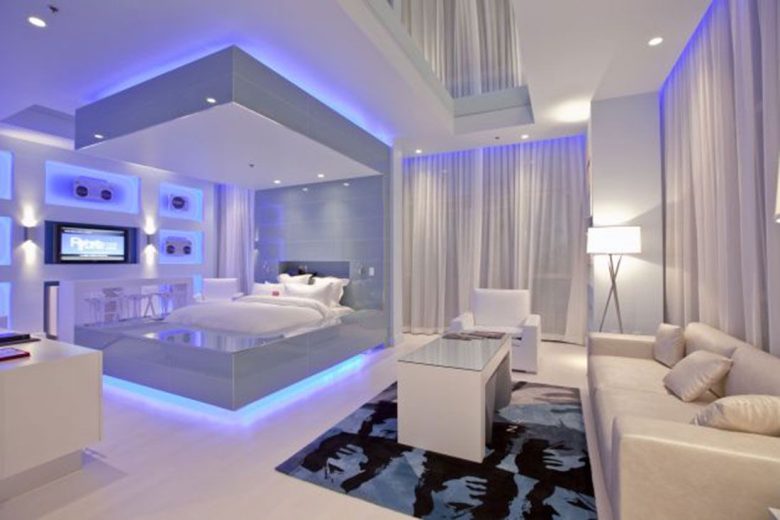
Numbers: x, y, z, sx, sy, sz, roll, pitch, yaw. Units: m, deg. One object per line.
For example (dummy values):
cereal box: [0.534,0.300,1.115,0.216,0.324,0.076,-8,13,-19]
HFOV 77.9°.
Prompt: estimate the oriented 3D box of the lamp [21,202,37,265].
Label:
lamp: [-4.768,-0.331,6.365,0.177,0.918,0.061,-2,1,-36]

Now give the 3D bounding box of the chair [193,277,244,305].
chair: [-2.698,0.500,7.644,0.626,0.484,0.427,1,-11,-18]

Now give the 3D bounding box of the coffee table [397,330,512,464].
coffee table: [0.598,1.201,4.394,0.802,0.748,1.506,0,-3,27]

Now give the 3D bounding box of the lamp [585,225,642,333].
lamp: [2.558,0.216,5.495,0.524,1.259,0.630,-1,0,27]

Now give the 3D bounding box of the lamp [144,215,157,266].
lamp: [-3.728,-0.298,7.490,0.066,0.801,0.208,-1,0,28]

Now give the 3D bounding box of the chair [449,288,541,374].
chair: [1.434,0.763,6.197,1.301,1.164,0.921,-3,-10,24]

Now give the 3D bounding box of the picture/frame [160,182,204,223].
picture/frame: [-3.473,-0.943,7.925,0.103,0.523,0.766,1,0,31]

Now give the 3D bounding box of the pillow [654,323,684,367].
pillow: [2.626,0.822,4.555,0.138,0.376,0.357,11,-2,-3]
